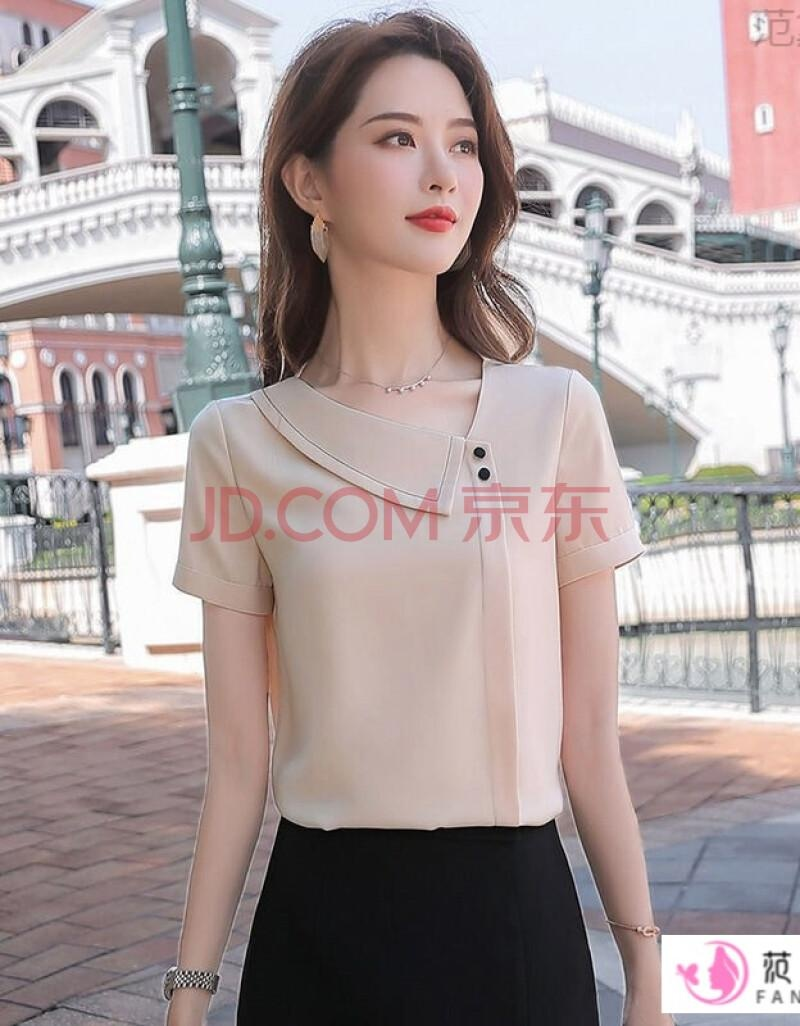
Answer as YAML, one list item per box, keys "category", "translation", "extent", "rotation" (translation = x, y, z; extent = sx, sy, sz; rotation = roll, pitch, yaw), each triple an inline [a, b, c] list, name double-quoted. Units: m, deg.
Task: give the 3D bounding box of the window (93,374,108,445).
- category: "window"
  translation: [-13.608, -4.880, 44.448]
  extent: [0.769, 3.514, 0.157]
  rotation: [-10, 12, -43]

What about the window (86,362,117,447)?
- category: "window"
  translation: [-13.582, -4.826, 44.539]
  extent: [0.835, 3.806, 0.126]
  rotation: [-1, 8, 9]

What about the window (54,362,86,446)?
- category: "window"
  translation: [-14.457, -4.637, 42.918]
  extent: [0.894, 3.452, 0.221]
  rotation: [2, 12, 20]

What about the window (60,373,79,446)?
- category: "window"
  translation: [-14.426, -4.659, 42.908]
  extent: [0.947, 3.612, 0.251]
  rotation: [-2, 5, 10]

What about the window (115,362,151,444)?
- category: "window"
  translation: [-12.555, -5.140, 45.631]
  extent: [0.850, 3.293, 0.219]
  rotation: [7, 24, 9]
